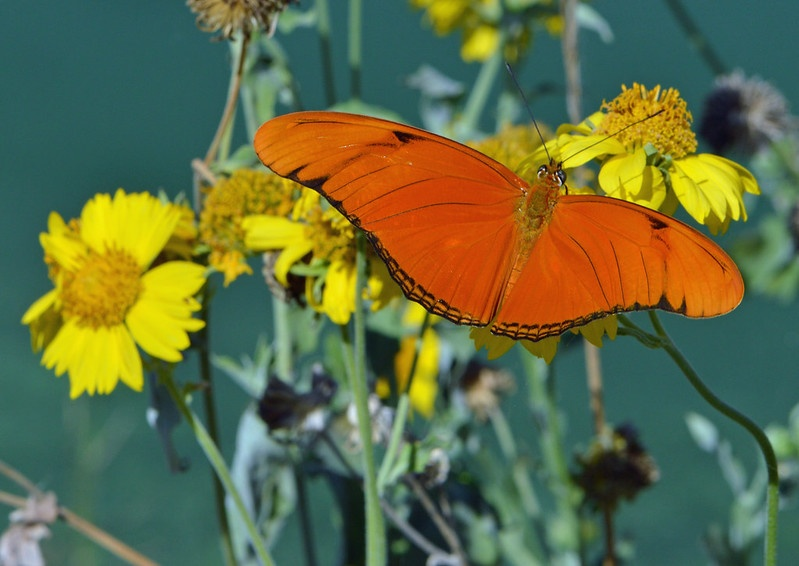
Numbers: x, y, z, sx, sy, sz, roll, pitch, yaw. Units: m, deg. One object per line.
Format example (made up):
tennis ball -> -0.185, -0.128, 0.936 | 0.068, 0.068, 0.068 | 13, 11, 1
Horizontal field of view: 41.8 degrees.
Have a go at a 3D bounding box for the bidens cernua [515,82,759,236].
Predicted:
bidens cernua -> 0.283, -0.140, 1.216 | 0.244, 0.152, 0.263 | 4, 9, 27

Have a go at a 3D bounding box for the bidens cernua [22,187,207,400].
bidens cernua -> -0.323, 0.008, 1.174 | 0.202, 0.201, 0.100 | -11, -31, 10

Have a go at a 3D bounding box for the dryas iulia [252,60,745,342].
dryas iulia -> 0.095, -0.096, 1.256 | 0.600, 0.310, 0.148 | 24, 6, 0
